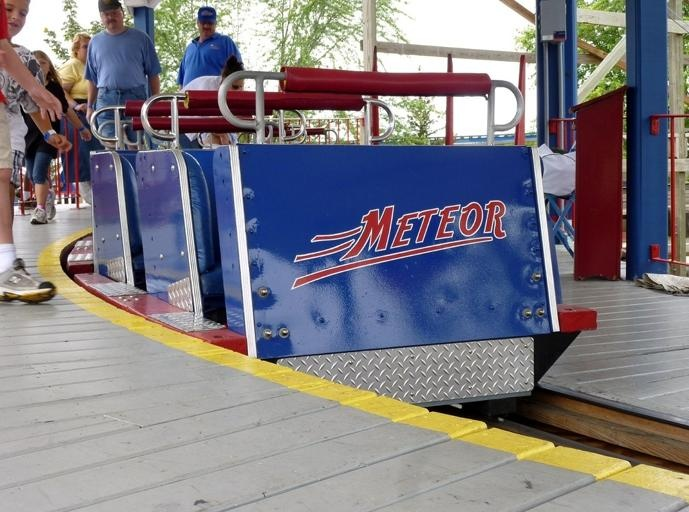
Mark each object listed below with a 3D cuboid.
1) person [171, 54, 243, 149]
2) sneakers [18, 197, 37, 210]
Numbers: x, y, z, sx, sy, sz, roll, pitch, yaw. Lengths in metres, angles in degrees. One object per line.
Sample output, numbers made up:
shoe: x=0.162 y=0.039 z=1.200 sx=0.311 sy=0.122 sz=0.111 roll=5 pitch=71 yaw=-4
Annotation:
person: x=-1.344 y=-1.510 z=6.596 sx=0.521 sy=0.825 sz=2.368 roll=-3 pitch=10 yaw=-15
sneakers: x=-4.882 y=-0.818 z=10.131 sx=0.197 sy=0.128 sz=0.410 roll=-1 pitch=3 yaw=-34
